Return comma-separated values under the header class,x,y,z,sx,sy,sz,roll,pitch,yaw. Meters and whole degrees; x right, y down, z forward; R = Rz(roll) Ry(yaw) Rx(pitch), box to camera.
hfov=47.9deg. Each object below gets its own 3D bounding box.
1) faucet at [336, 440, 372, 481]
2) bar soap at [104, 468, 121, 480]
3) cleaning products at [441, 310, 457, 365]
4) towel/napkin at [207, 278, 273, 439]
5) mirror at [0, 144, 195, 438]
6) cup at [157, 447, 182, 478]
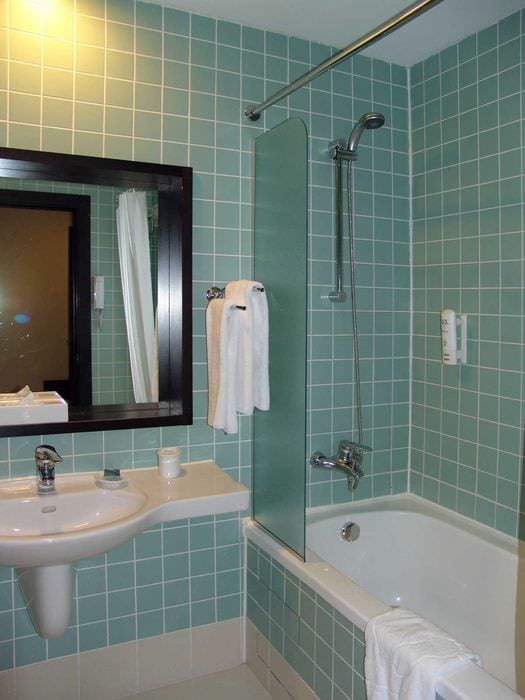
class,x,y,z,sx,sy,sz,roll,pitch,yaw
faucet,0.342,0.422,2.274,0.135,0.190,0.098,1,-3,-5
bar soap,-0.483,0.402,1.891,0.051,0.043,0.041,-1,5,15
cleaning products,0.725,-0.040,2.296,0.062,0.209,0.058,1,5,27
towel/napkin,-0.099,0.021,2.041,0.250,0.495,0.205,-1,5,11
mirror,-0.582,-0.208,2.012,0.783,1.227,0.082,0,1,-30
cup,-0.319,0.381,2.019,0.076,0.084,0.070,1,5,0
